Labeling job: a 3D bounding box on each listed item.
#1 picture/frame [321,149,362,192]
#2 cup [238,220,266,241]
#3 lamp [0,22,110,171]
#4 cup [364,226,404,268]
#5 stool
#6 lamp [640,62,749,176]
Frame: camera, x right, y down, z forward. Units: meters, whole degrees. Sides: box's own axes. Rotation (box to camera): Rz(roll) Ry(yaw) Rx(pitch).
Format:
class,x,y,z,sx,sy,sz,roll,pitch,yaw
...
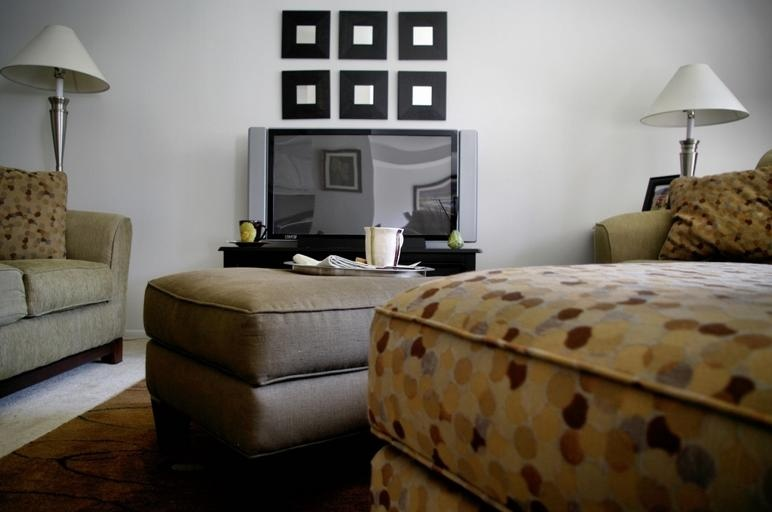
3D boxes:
class,x,y,z,sx,sy,sz,roll,pitch,yaw
picture/frame,-0.293,-0.580,3.770,0.266,0.302,0.032,0,1,4
cup,-0.876,-0.157,3.626,0.106,0.125,0.168,-7,-10,34
lamp,-2.108,-1.005,3.564,0.608,0.883,0.510,1,13,32
cup,0.002,-0.039,2.348,0.164,0.174,0.203,6,5,38
stool,-0.354,0.453,2.120,0.997,0.606,1.067,9,-6,-19
lamp,1.968,-0.846,3.556,0.599,0.711,0.582,3,2,23
